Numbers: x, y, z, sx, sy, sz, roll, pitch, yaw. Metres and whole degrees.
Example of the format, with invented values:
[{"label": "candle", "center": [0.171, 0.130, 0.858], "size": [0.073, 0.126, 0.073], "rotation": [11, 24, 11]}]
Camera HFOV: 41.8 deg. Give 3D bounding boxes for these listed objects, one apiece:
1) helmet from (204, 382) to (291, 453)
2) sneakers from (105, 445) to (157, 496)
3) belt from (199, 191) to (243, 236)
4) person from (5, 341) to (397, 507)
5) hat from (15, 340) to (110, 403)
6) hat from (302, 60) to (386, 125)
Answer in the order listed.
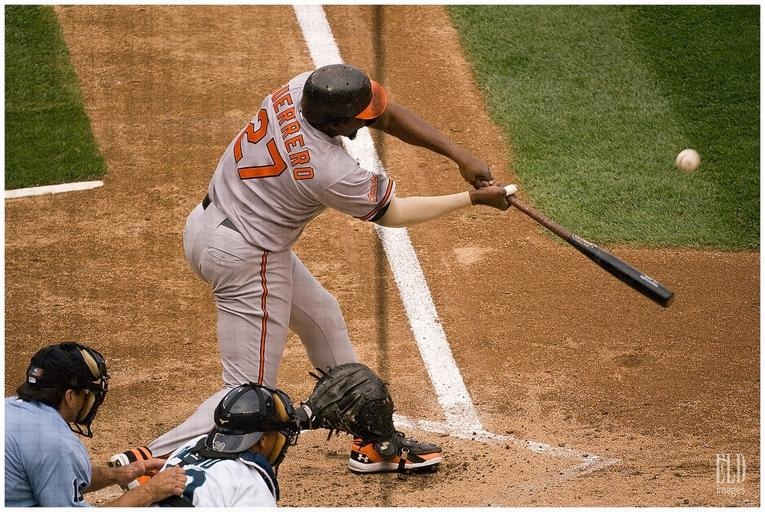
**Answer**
[{"label": "helmet", "center": [-0.905, 1.175, 7.057], "size": [0.562, 0.196, 0.524], "rotation": [15, 70, -1]}, {"label": "sneakers", "center": [-1.905, 1.612, 7.590], "size": [0.245, 0.598, 0.197], "rotation": [-33, 88, -1]}, {"label": "belt", "center": [-1.282, -0.319, 7.927], "size": [0.345, 0.266, 0.184], "rotation": [45, 85, 1]}, {"label": "person", "center": [-1.350, 1.333, 7.295], "size": [2.195, 1.396, 0.793], "rotation": [4, 99, -32]}, {"label": "hat", "center": [-2.308, 0.843, 7.410], "size": [0.554, 0.399, 0.424], "rotation": [-15, 107, -33]}, {"label": "hat", "center": [-0.294, -1.246, 7.733], "size": [0.615, 0.270, 0.392], "rotation": [-6, 53, -6]}]
